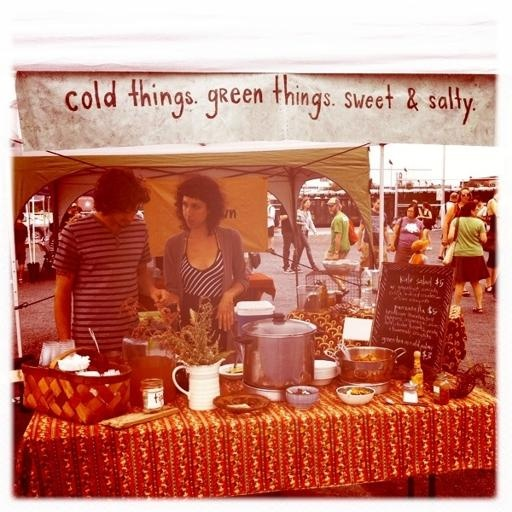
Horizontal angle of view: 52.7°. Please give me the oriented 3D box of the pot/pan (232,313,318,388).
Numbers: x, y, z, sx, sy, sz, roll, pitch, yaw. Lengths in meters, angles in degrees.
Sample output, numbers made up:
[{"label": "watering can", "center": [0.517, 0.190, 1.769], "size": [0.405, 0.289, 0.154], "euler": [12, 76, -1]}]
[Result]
[{"label": "pot/pan", "center": [0.092, 0.443, 2.441], "size": [0.271, 0.408, 0.289], "euler": [0, 12, -20]}]

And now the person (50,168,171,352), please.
[{"label": "person", "center": [-0.970, 0.069, 3.320], "size": [0.548, 1.403, 0.577], "euler": [-4, 16, -29]}]

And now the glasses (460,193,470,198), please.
[{"label": "glasses", "center": [4.018, -1.168, 9.892], "size": [0.157, 0.083, 0.216], "euler": [2, 9, 7]}]

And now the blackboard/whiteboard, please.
[{"label": "blackboard/whiteboard", "center": [0.820, 0.297, 2.727], "size": [0.410, 0.657, 0.268], "euler": [-1, 1, -11]}]

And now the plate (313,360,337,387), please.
[{"label": "plate", "center": [0.352, 0.593, 2.653], "size": [0.120, 0.082, 0.126], "euler": [0, -2, -2]}]

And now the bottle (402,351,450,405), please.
[{"label": "bottle", "center": [0.787, 0.530, 2.461], "size": [0.191, 0.286, 0.167], "euler": [1, 10, -7]}]

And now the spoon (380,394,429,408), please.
[{"label": "spoon", "center": [0.691, 0.680, 2.399], "size": [0.166, 0.031, 0.029], "euler": [6, 20, 27]}]

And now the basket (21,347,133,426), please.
[{"label": "basket", "center": [-0.797, 0.550, 2.288], "size": [0.447, 0.254, 0.250], "euler": [0, -1, 31]}]

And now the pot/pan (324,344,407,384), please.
[{"label": "pot/pan", "center": [0.578, 0.520, 2.656], "size": [0.284, 0.164, 0.313], "euler": [-1, 12, -13]}]

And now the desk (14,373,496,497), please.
[{"label": "desk", "center": [0.070, 0.832, 2.260], "size": [2.068, 0.371, 0.225], "euler": [0, -14, -12]}]

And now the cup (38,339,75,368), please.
[{"label": "cup", "center": [-0.937, 0.451, 2.421], "size": [0.129, 0.135, 0.136], "euler": [1, 2, 0]}]

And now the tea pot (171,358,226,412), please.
[{"label": "tea pot", "center": [-0.271, 0.561, 2.449], "size": [0.252, 0.209, 0.331], "euler": [-2, 13, -12]}]

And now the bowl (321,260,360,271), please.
[{"label": "bowl", "center": [0.943, 0.109, 5.743], "size": [0.288, 0.097, 0.222], "euler": [-3, 7, -14]}]
